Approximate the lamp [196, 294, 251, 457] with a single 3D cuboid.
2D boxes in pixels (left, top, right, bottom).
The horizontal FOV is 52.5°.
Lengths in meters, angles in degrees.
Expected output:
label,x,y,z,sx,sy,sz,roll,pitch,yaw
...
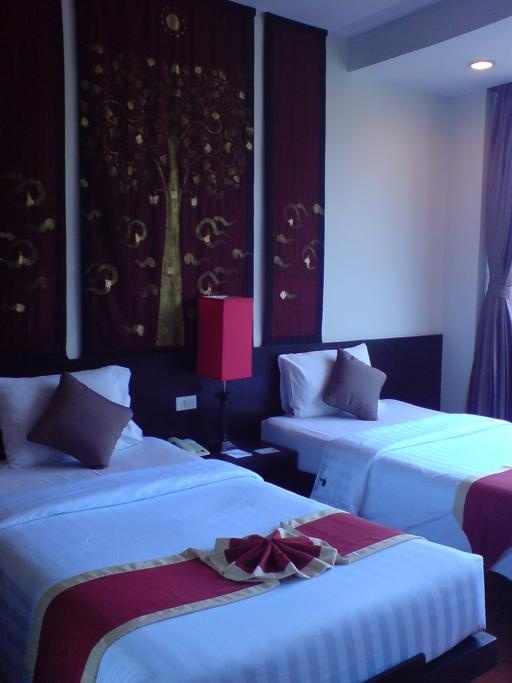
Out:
label,x,y,z,sx,sy,sz,roll,pitch,yaw
lamp,-0.189,0.194,3.124,0.250,0.952,0.265,4,4,32
